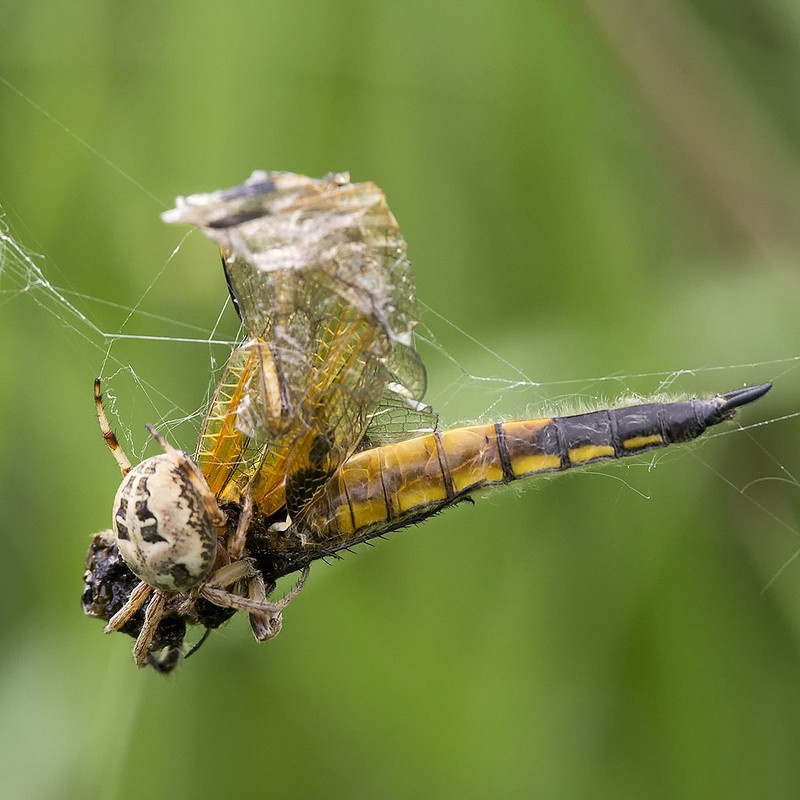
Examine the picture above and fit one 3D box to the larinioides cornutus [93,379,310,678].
[{"bbox_3d":[-0.426,0.236,1.818,0.393,0.325,0.476,-33,-62,24],"label":"larinioides cornutus"}]
